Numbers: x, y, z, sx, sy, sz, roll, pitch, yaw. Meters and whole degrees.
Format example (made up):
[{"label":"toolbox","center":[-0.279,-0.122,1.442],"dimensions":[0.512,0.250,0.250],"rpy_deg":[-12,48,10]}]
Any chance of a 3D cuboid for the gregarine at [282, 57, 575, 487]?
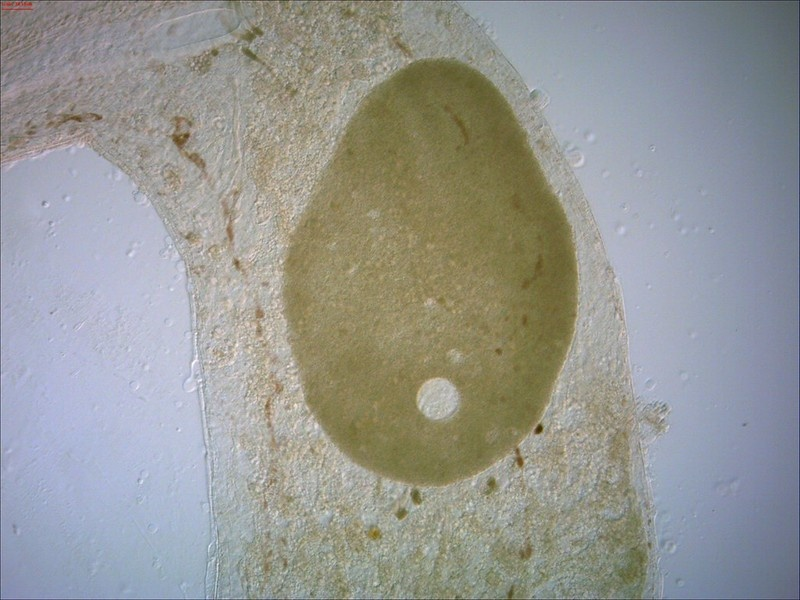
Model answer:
[{"label":"gregarine","center":[0.124,-0.201,4.253],"dimensions":[1.732,3.163,0.950],"rpy_deg":[3,0,6]}]
